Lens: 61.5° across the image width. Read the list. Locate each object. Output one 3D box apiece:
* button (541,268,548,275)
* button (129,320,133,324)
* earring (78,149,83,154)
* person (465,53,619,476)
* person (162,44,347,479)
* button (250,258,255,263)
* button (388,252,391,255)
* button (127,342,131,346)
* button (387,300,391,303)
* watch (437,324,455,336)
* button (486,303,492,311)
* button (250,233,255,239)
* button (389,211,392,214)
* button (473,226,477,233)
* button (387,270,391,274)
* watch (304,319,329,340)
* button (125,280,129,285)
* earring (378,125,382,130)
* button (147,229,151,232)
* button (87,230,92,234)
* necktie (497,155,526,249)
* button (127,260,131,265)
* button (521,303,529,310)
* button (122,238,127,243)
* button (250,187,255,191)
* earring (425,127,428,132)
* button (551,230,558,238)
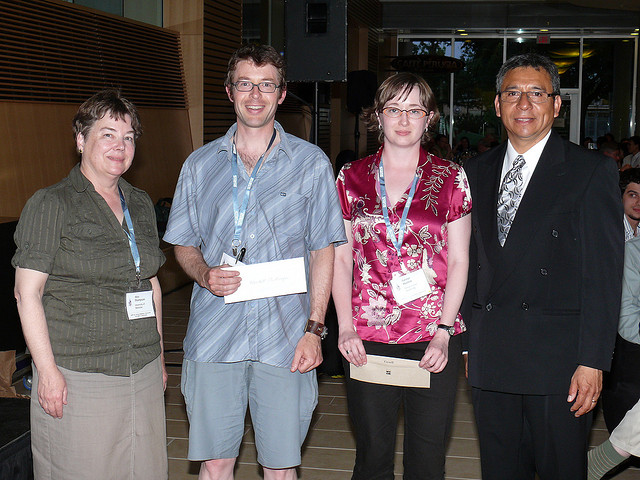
[{"bbox_3d":[0.883,0.125,2.118,0.023,0.022,0.008,3,13,11],"label":"button"},{"bbox_3d":[-0.748,0.324,2.130,0.014,0.016,0.005,-10,17,-37],"label":"button"},{"bbox_3d":[-0.966,-0.359,2.170,0.013,0.014,0.010,4,14,5],"label":"earring"},{"bbox_3d":[0.908,0.120,2.254,0.583,1.763,0.545,3,13,15],"label":"person"},{"bbox_3d":[-0.261,0.096,2.214,0.712,1.742,0.473,-4,13,-15],"label":"person"},{"bbox_3d":[-0.269,0.080,2.139,0.018,0.019,0.005,0,-3,-8],"label":"button"},{"bbox_3d":[0.289,0.055,2.245,0.007,0.007,0.013,-3,-19,7],"label":"button"},{"bbox_3d":[-0.752,0.409,2.118,0.016,0.016,0.004,0,-5,-21],"label":"button"},{"bbox_3d":[0.288,0.256,2.246,0.013,0.011,0.004,3,13,13],"label":"button"},{"bbox_3d":[0.522,0.361,2.238,0.056,0.060,0.039,-27,18,41],"label":"watch"},{"bbox_3d":[0.697,0.276,2.217,0.029,0.031,0.011,-3,-6,45],"label":"button"},{"bbox_3d":[-0.271,-0.016,2.144,0.018,0.019,0.007,-2,-2,0],"label":"button"},{"bbox_3d":[0.293,-0.114,2.239,0.011,0.011,0.003,-3,-9,19],"label":"button"},{"bbox_3d":[0.657,-0.043,2.277,0.005,0.022,0.019,-11,17,-39],"label":"button"},{"bbox_3d":[0.289,0.132,2.249,0.010,0.007,0.012,-14,11,-2],"label":"button"},{"bbox_3d":[-0.008,0.367,2.231,0.093,0.066,0.096,21,-9,-26],"label":"watch"},{"bbox_3d":[-0.768,0.168,2.131,0.018,0.017,0.004,-15,11,-30],"label":"button"},{"bbox_3d":[0.260,-0.490,2.334,0.005,0.020,0.020,7,-8,-21],"label":"earring"},{"bbox_3d":[-0.726,-0.040,2.288,0.006,0.012,0.020,4,14,18],"label":"button"},{"bbox_3d":[-0.882,-0.032,2.055,0.011,0.011,0.003,-1,-25,-12],"label":"button"},{"bbox_3d":[0.786,-0.189,2.222,0.090,0.306,0.140,5,14,22],"label":"necktie"},{"bbox_3d":[-0.755,0.088,2.128,0.020,0.016,0.012,-1,10,-1],"label":"button"},{"bbox_3d":[0.818,0.265,2.148,0.022,0.025,0.009,5,14,21],"label":"button"},{"bbox_3d":[-0.777,0.001,2.132,0.014,0.013,0.004,2,-10,-23],"label":"button"},{"bbox_3d":[-0.273,-0.205,2.171,0.020,0.013,0.007,4,14,14],"label":"button"},{"bbox_3d":[0.453,-0.474,2.302,0.004,0.016,0.016,7,-4,-6],"label":"earring"},{"bbox_3d":[0.917,-0.025,2.102,0.021,0.026,0.008,3,14,14],"label":"button"}]
